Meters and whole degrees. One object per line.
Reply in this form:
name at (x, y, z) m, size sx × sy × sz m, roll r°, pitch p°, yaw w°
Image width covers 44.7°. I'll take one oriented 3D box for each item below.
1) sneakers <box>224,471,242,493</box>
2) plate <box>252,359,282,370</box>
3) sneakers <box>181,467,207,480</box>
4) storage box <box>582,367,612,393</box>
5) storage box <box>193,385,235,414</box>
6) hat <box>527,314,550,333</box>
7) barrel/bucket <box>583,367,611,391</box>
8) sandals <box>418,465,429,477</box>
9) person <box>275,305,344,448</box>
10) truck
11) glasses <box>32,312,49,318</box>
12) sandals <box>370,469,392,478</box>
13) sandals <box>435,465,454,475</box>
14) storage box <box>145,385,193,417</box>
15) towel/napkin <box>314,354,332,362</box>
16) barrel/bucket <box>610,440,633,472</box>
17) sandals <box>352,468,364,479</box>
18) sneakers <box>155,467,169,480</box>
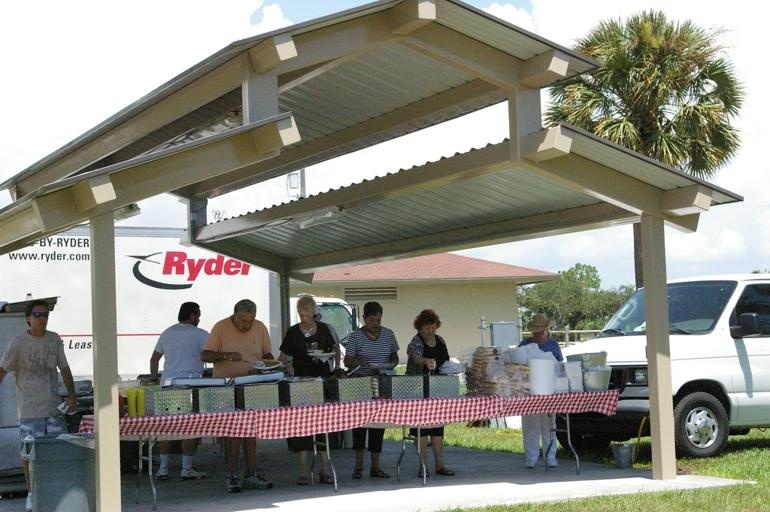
sneakers at (-2.180, 3.248, 13.399) m, size 0.218 × 0.201 × 0.488 m, roll 1°, pitch -9°, yaw -14°
plate at (-1.680, 1.564, 13.424) m, size 0.412 × 0.155 × 0.432 m, roll 1°, pitch -11°, yaw -9°
sneakers at (-2.892, 3.291, 14.169) m, size 0.391 × 0.173 × 0.144 m, roll 0°, pitch 0°, yaw -17°
storage box at (3.175, 1.861, 14.061) m, size 0.349 × 0.273 × 0.350 m, roll -4°, pitch -6°, yaw 35°
storage box at (-2.270, 1.926, 12.422) m, size 0.508 × 0.382 × 0.296 m, roll 6°, pitch -12°, yaw -30°
hat at (2.329, 1.025, 14.268) m, size 0.344 × 0.306 × 0.322 m, roll -3°, pitch -11°, yaw 8°
barrel/bucket at (3.167, 1.845, 14.015) m, size 0.348 × 0.271 × 0.350 m, roll -1°, pitch -3°, yaw 0°
sandals at (0.569, 3.166, 13.726) m, size 0.112 × 0.143 × 0.352 m, roll 1°, pitch -10°, yaw -5°
person at (-1.151, 1.778, 13.896) m, size 0.986 × 2.163 × 0.916 m, roll -4°, pitch -1°, yaw -26°
truck at (-4.207, 0.662, 17.920) m, size 5.636 × 2.849 × 2.073 m, roll -2°, pitch 0°, yaw -21°
glasses at (-4.719, 0.802, 12.833) m, size 0.103 × 0.090 × 0.203 m, roll -11°, pitch -14°, yaw 41°
sandals at (-0.055, 3.222, 13.892) m, size 0.302 × 0.102 × 0.114 m, roll -6°, pitch -5°, yaw 45°
sandals at (0.879, 3.201, 13.996) m, size 0.250 × 0.116 × 0.124 m, roll -6°, pitch -7°, yaw 40°
storage box at (-2.810, 1.879, 12.243) m, size 0.392 × 0.261 × 0.405 m, roll -2°, pitch -5°, yaw 34°
towel/napkin at (-0.914, 1.455, 13.615) m, size 0.254 × 0.073 × 0.386 m, roll 1°, pitch -11°, yaw -11°
barrel/bucket at (3.629, 3.040, 14.284) m, size 0.425 × 0.417 × 0.422 m, roll 0°, pitch -7°, yaw 0°
sandals at (-0.405, 3.238, 13.929) m, size 0.134 × 0.109 × 0.412 m, roll 0°, pitch -7°, yaw -3°
sneakers at (-3.352, 3.281, 14.091) m, size 0.184 × 0.191 × 0.115 m, roll 6°, pitch 2°, yaw 44°
